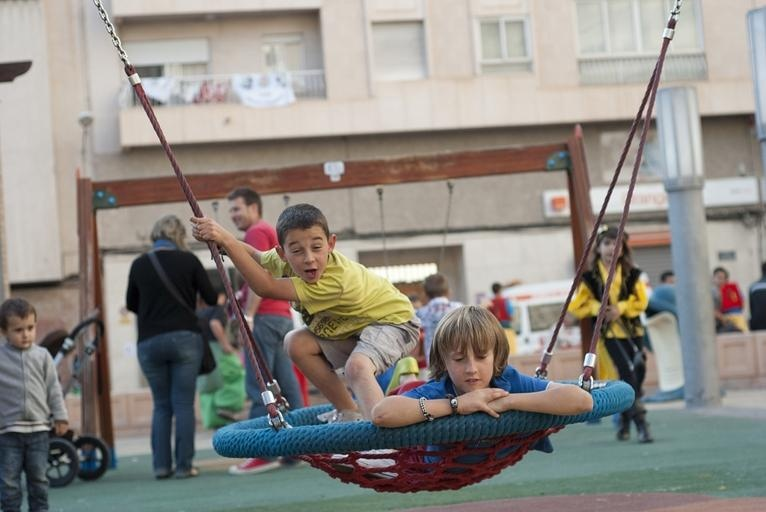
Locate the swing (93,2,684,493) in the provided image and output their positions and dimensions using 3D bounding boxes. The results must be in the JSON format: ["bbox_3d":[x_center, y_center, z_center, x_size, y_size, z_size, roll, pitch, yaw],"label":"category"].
[{"bbox_3d":[0.079,0.271,9.764,2.454,1.941,1.080,0,8,8],"label":"swing"}]

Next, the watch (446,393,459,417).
[{"bbox_3d":[0.356,0.763,9.411,0.057,0.088,0.082,0,-9,-14],"label":"watch"}]

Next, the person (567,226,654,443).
[{"bbox_3d":[1.482,0.495,12.065,0.559,1.353,0.470,0,1,2],"label":"person"}]
